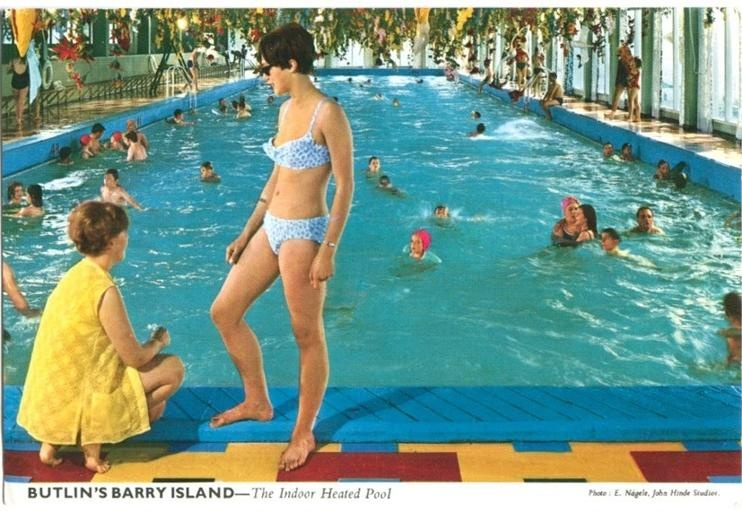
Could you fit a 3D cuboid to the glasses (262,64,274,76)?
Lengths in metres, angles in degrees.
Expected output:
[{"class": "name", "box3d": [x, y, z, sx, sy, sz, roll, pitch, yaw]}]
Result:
[{"class": "glasses", "box3d": [-0.590, -1.079, 3.701, 0.073, 0.055, 0.070, -8, 25, -17]}]

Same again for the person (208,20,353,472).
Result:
[{"class": "person", "box3d": [-0.510, -0.074, 3.793, 0.745, 2.526, 0.719, 8, 18, 32]}]

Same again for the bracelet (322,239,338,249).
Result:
[{"class": "bracelet", "box3d": [-0.235, -0.066, 3.663, 0.054, 0.015, 0.053, 13, -9, 12]}]

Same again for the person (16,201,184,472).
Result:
[{"class": "person", "box3d": [-1.584, 0.388, 3.661, 0.853, 1.351, 0.395, -12, 18, -34]}]

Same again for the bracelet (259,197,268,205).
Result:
[{"class": "bracelet", "box3d": [-0.671, -0.353, 4.083, 0.045, 0.011, 0.043, 12, -12, 16]}]
